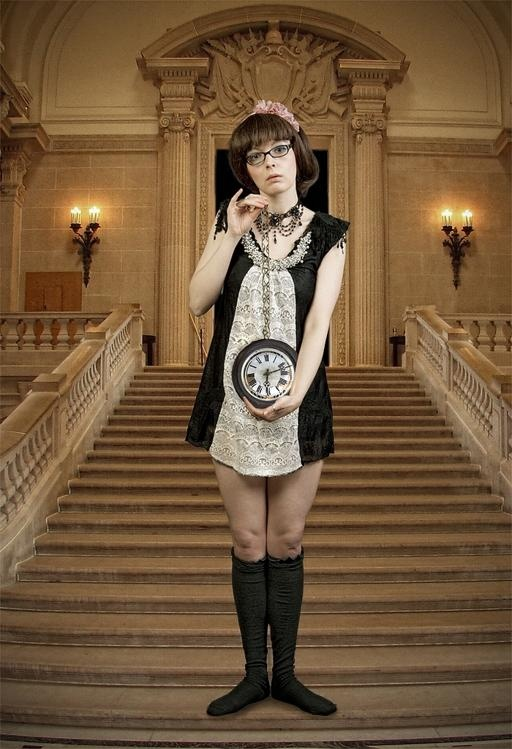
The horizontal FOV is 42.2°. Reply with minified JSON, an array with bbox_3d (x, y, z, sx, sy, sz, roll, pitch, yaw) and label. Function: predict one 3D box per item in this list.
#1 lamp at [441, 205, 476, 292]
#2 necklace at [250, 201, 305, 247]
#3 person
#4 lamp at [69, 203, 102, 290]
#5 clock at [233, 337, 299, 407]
[{"bbox_3d":[3.581,-2.210,11.800,0.580,1.413,0.330,1,2,8],"label":"lamp"},{"bbox_3d":[0.063,-0.469,2.077,0.124,0.120,0.052,16,-16,20],"label":"necklace"},{"bbox_3d":[0.016,0.152,2.092,0.517,2.070,0.469,1,2,6],"label":"person"},{"bbox_3d":[-3.026,-2.252,11.738,0.526,1.430,0.350,1,2,-11],"label":"lamp"},{"bbox_3d":[0.034,0.001,1.925,0.188,0.185,0.045,-39,-15,-3],"label":"clock"}]
